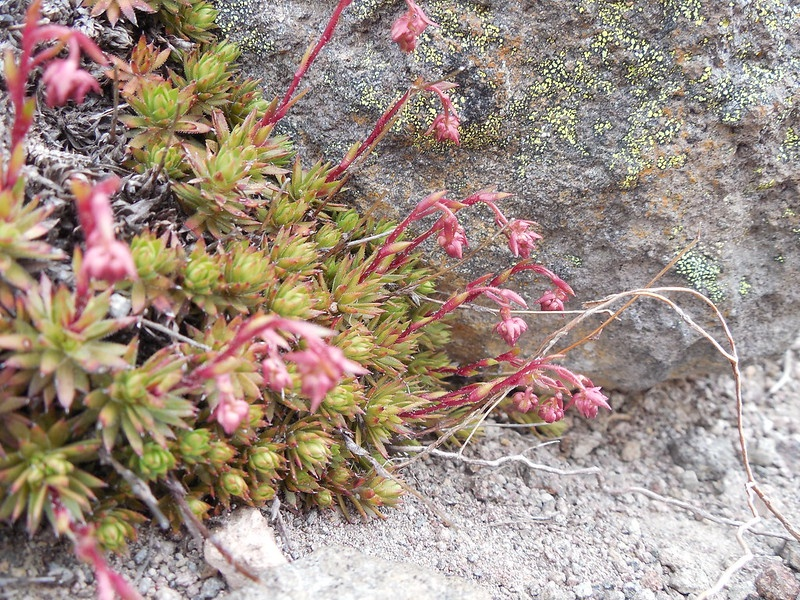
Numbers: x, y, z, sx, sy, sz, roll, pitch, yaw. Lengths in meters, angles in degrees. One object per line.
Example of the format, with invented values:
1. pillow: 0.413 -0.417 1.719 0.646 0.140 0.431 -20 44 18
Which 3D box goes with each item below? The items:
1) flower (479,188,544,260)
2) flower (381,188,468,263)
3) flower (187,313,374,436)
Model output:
1. flower: 0.724 -0.432 4.496 0.507 0.193 0.308 47 -13 5
2. flower: 0.155 -0.525 4.867 0.167 0.725 0.298 -22 75 -38
3. flower: -0.708 0.418 4.019 0.527 0.466 0.636 44 -8 -7
